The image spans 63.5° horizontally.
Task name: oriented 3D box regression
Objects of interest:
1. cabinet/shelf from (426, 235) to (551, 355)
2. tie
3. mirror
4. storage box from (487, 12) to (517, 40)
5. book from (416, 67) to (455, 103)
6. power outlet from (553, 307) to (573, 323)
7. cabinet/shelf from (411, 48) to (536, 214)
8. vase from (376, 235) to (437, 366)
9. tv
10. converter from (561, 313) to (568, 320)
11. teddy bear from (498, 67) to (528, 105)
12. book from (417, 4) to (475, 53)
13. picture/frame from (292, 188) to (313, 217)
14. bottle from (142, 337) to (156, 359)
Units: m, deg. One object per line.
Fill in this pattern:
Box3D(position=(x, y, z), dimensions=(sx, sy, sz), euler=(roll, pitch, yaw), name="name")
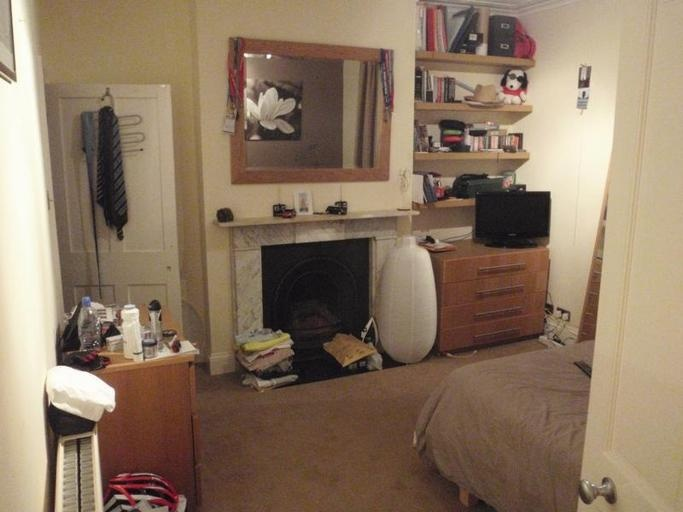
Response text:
Box3D(position=(1.312, 0.356, 5.233), dimensions=(1.203, 0.896, 0.649), euler=(-7, 15, -23), name="cabinet/shelf")
Box3D(position=(-1.686, -0.582, 4.014), dimensions=(0.209, 0.975, 0.096), euler=(-5, 13, -11), name="tie")
Box3D(position=(-0.209, -1.115, 4.422), dimensions=(1.334, 1.078, 0.101), euler=(-5, 18, -20), name="mirror")
Box3D(position=(1.503, -2.079, 5.056), dimensions=(0.299, 0.224, 0.102), euler=(-6, 13, -15), name="storage box")
Box3D(position=(0.860, -1.531, 4.943), dimensions=(0.484, 0.296, 0.087), euler=(-11, 16, -36), name="book")
Box3D(position=(2.092, 0.556, 5.210), dimensions=(0.045, 0.104, 0.148), euler=(1, 9, -14), name="power outlet")
Box3D(position=(1.194, -1.189, 5.126), dimensions=(1.508, 1.396, 0.479), euler=(-2, 9, -17), name="cabinet/shelf")
Box3D(position=(0.531, 0.392, 4.518), dimensions=(0.474, 1.092, 0.181), euler=(-2, 13, 4), name="vase")
Box3D(position=(1.599, -0.367, 5.174), dimensions=(0.555, 0.419, 0.149), euler=(0, 7, 1), name="tv")
Box3D(position=(2.093, 0.572, 5.170), dimensions=(0.013, 0.050, 0.052), euler=(2, -1, -30), name="converter")
Box3D(position=(1.645, -1.617, 5.284), dimensions=(0.252, 0.340, 0.239), euler=(10, 20, 17), name="teddy bear")
Box3D(position=(0.907, -2.005, 4.918), dimensions=(0.476, 0.483, 0.160), euler=(0, 1, -13), name="book")
Box3D(position=(-0.320, -0.436, 4.472), dimensions=(0.221, 0.295, 0.024), euler=(-5, 7, -29), name="picture/frame")
Box3D(position=(-0.937, 0.450, 2.714), dimensions=(0.079, 0.085, 0.079), euler=(-3, 13, -20), name="bottle")
